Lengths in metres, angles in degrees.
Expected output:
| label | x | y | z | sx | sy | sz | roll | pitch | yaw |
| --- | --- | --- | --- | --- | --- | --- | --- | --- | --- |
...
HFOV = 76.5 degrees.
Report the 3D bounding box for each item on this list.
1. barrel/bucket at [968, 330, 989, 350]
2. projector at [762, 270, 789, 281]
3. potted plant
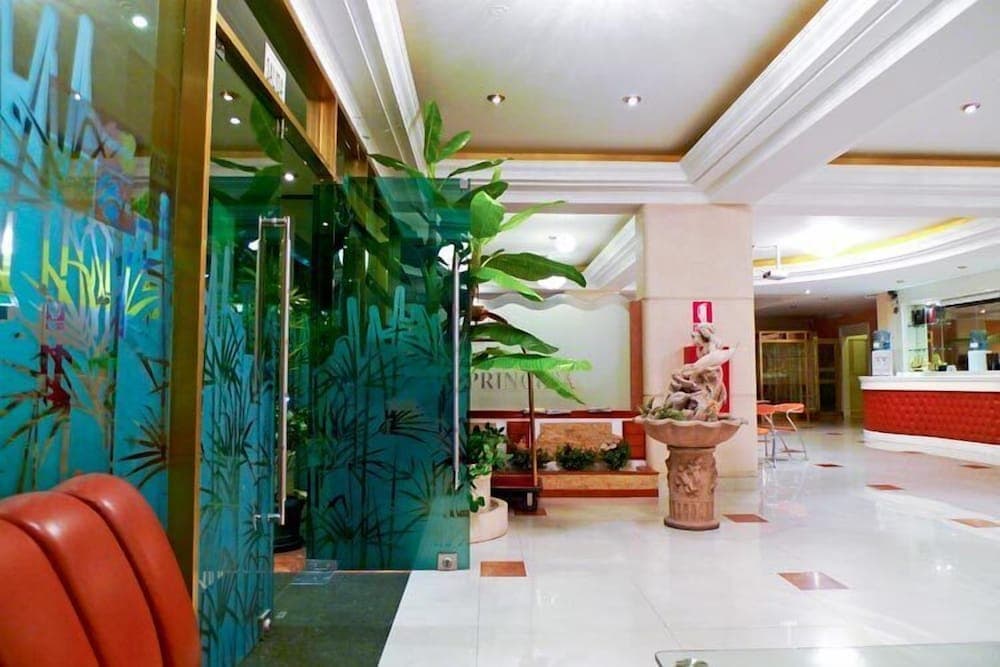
| label | x | y | z | sx | sy | sz | roll | pitch | yaw |
| --- | --- | --- | --- | --- | --- | --- | --- | --- | --- |
| barrel/bucket | 7.738 | 0.133 | 10.279 | 0.262 | 0.293 | 0.260 | 0 | -4 | 0 |
| projector | 4.173 | -0.868 | 9.681 | 0.238 | 0.085 | 0.244 | 2 | 1 | 39 |
| potted plant | -0.273 | -0.367 | 5.551 | 2.258 | 3.314 | 2.507 | -1 | -2 | 29 |
